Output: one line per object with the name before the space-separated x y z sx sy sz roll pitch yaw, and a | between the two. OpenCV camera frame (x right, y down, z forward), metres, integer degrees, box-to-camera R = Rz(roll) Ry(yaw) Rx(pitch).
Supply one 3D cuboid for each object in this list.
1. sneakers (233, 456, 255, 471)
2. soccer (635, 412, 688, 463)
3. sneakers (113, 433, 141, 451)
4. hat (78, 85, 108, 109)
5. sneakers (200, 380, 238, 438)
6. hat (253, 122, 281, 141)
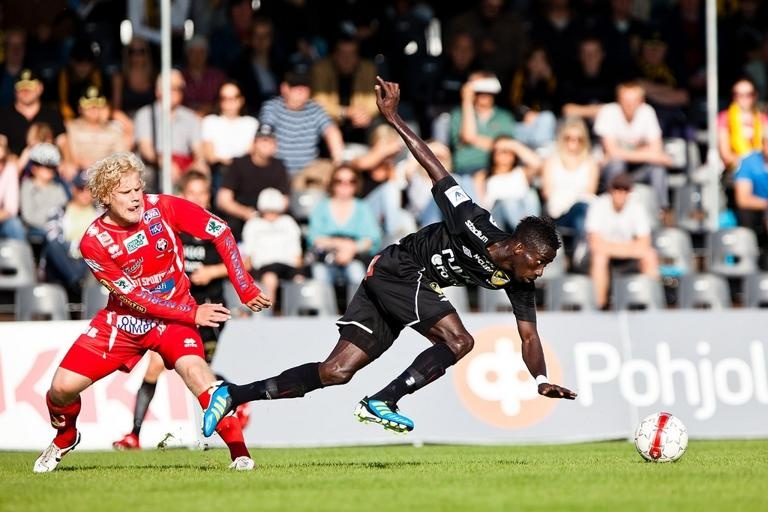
sneakers | -1.623 2.396 13.741 0.216 0.102 0.125 -15 -14 39
soccer | 3.239 2.079 14.146 0.544 0.570 0.578 -2 -34 7
sneakers | -3.405 2.500 15.910 0.317 0.239 0.189 10 -14 3
hat | -4.794 -2.622 19.801 0.395 0.285 0.406 -1 4 -38
sneakers | -1.830 1.696 13.598 0.282 0.710 0.241 5 -20 24
hat | -1.831 -1.985 18.696 0.271 0.325 0.344 11 -3 -38
